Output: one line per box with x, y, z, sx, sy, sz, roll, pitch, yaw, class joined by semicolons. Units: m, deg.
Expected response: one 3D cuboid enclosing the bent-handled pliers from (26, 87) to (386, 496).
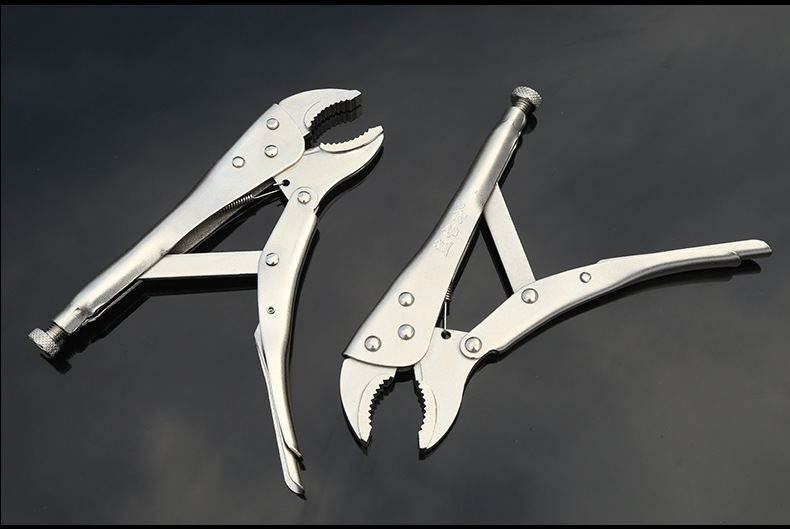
-0.346;-0.082;2.265;0.742;0.845;0.132;34;-26;14;bent-handled pliers

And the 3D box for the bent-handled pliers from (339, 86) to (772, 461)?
0.261;-0.009;2.230;0.747;1.120;0.102;45;-27;25;bent-handled pliers
